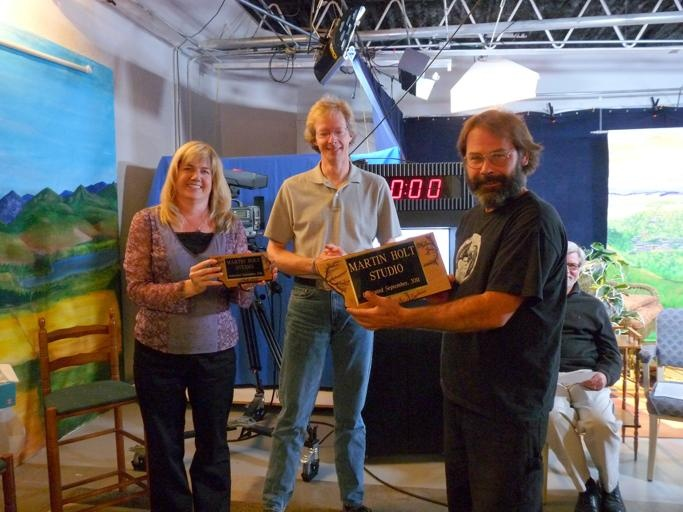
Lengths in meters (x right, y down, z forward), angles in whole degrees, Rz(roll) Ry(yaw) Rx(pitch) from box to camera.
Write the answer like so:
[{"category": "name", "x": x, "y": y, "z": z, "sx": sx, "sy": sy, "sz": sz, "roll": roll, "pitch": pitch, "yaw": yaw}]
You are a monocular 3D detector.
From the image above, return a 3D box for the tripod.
[{"category": "tripod", "x": -0.797, "y": 0.962, "z": 4.926, "sx": 1.459, "sy": 1.745, "sz": 1.358, "roll": 1, "pitch": -9, "yaw": -8}]

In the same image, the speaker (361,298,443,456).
[{"category": "speaker", "x": 0.461, "y": 0.971, "z": 4.783, "sx": 0.856, "sy": 1.403, "sz": 0.845, "roll": 0, "pitch": 4, "yaw": 1}]

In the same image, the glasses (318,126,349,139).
[{"category": "glasses", "x": -0.031, "y": -0.730, "z": 3.397, "sx": 0.197, "sy": 0.056, "sz": 0.043, "roll": 2, "pitch": 1, "yaw": -15}]
